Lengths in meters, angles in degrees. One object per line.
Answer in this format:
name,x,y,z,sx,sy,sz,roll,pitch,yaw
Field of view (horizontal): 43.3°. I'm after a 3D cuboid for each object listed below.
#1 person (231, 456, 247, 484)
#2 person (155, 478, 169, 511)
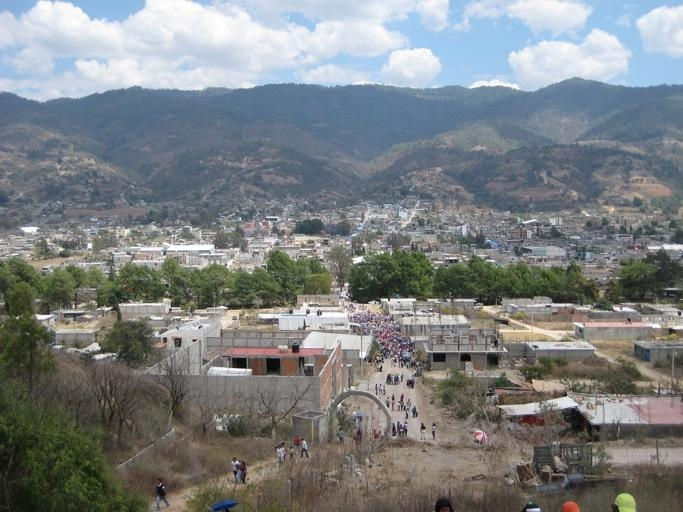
person,-4.397,9.114,36.599,0.426,1.339,0.605,0,21,3
person,-7.367,9.613,35.301,0.537,1.219,1.300,-2,2,-13
